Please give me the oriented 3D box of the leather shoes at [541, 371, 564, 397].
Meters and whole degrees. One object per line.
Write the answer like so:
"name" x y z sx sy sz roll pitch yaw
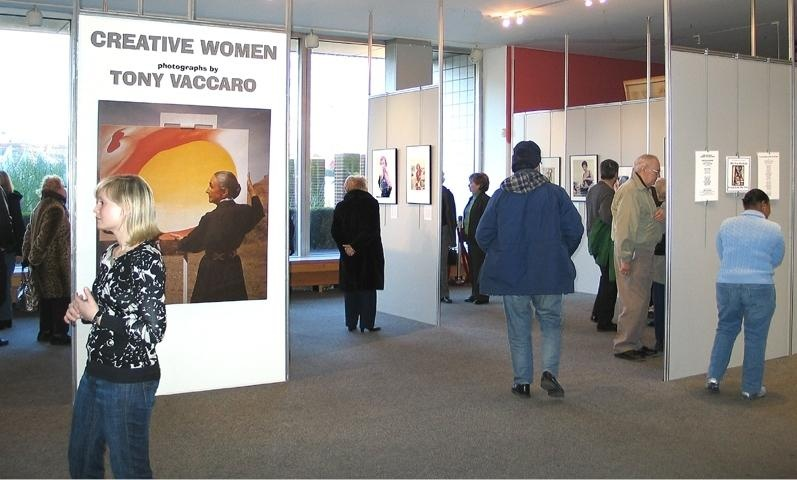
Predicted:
"leather shoes" 1.706 1.615 7.053 0.242 0.325 0.218 4 11 25

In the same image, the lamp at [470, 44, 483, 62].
"lamp" 1.671 -4.015 13.609 0.264 0.322 0.359 1 0 6

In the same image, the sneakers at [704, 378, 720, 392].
"sneakers" 3.549 1.660 7.218 0.177 0.171 0.126 0 5 12

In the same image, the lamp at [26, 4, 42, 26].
"lamp" -6.046 -3.710 10.445 0.181 0.346 0.755 -6 12 -30

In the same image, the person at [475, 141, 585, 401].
"person" 1.468 0.329 7.165 1.128 2.813 0.666 3 10 16

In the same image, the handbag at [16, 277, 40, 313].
"handbag" -5.460 0.828 9.298 0.283 0.688 0.747 1 2 -32

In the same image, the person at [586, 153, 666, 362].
"person" 3.045 0.234 8.128 0.628 2.598 0.591 2 10 16

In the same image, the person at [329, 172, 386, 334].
"person" -0.617 0.240 9.440 0.758 2.274 0.462 -1 9 -2

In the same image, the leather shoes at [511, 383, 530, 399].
"leather shoes" 1.387 1.715 7.134 0.098 0.144 0.212 -1 10 -16

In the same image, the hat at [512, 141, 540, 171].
"hat" 1.508 -0.975 7.316 0.276 0.320 0.367 5 14 26

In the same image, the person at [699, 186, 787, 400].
"person" 3.872 0.607 7.063 0.643 2.277 0.465 5 10 27
